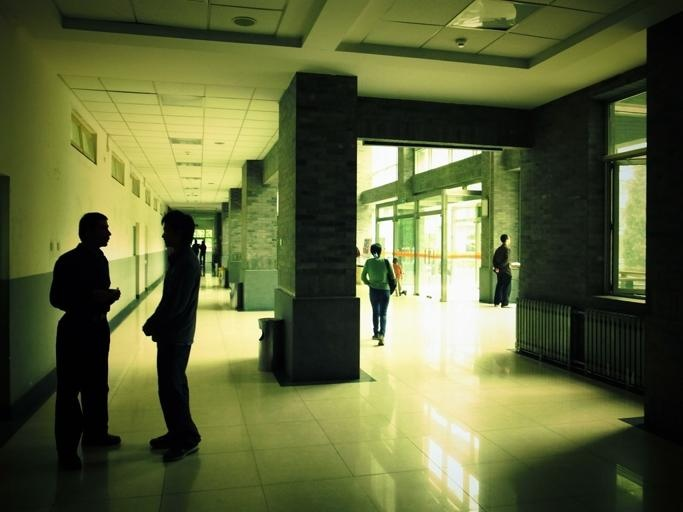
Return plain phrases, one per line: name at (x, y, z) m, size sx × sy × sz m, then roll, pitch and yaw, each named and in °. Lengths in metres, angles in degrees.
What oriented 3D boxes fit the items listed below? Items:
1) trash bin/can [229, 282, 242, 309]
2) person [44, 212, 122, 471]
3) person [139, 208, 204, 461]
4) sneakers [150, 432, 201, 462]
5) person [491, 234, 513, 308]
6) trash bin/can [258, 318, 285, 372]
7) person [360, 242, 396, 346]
trash bin/can at (-2.445, 0.888, 15.089) m, size 0.240 × 0.581 × 0.770 m, roll -2°, pitch 7°, yaw -18°
person at (-2.505, 0.781, 6.307) m, size 0.641 × 2.370 × 0.551 m, roll -4°, pitch 7°, yaw -31°
person at (-1.625, 0.760, 6.349) m, size 0.402 × 2.362 × 0.559 m, roll 1°, pitch 6°, yaw 15°
sneakers at (-1.584, 1.865, 6.450) m, size 0.597 × 0.238 × 0.200 m, roll 1°, pitch 10°, yaw -29°
person at (3.769, 0.324, 15.147) m, size 0.403 × 1.690 × 0.649 m, roll 1°, pitch 6°, yaw 13°
trash bin/can at (-0.957, 1.211, 8.897) m, size 0.374 × 0.703 × 0.253 m, roll 0°, pitch 6°, yaw 1°
person at (0.610, 0.623, 10.682) m, size 0.553 × 1.628 × 0.726 m, roll 0°, pitch 6°, yaw 2°
